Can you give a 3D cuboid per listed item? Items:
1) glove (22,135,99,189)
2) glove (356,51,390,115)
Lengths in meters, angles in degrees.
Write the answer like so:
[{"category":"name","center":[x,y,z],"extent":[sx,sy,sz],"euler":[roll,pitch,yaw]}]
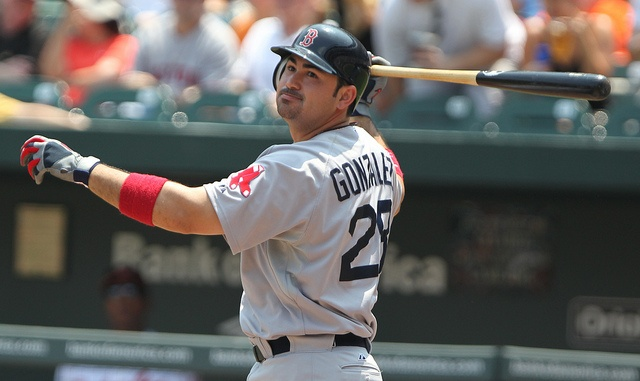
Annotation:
[{"category":"glove","center":[-1.821,-0.205,7.377],"extent":[0.559,0.325,0.129],"euler":[3,3,14]},{"category":"glove","center":[0.421,-0.774,8.003],"extent":[0.198,0.517,0.304],"euler":[1,0,-27]}]
